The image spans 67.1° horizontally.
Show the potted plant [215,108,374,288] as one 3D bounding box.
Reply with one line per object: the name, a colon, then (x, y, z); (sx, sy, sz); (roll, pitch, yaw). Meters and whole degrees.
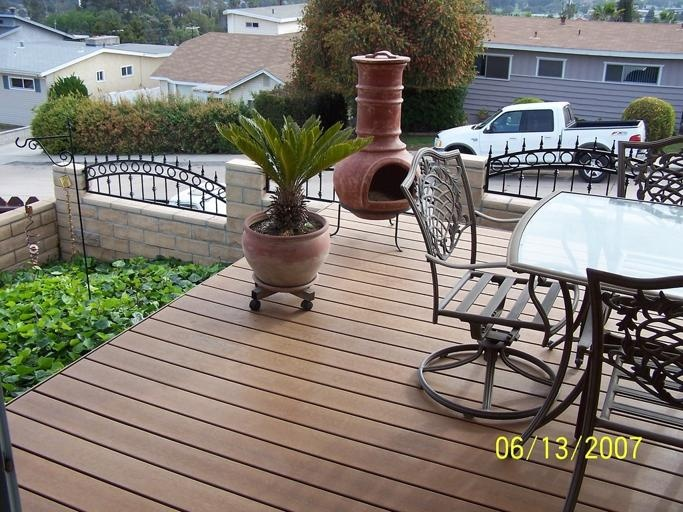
potted plant: (-0.338, -0.347, 3.496); (0.722, 1.161, 0.729); (10, 23, 21)
